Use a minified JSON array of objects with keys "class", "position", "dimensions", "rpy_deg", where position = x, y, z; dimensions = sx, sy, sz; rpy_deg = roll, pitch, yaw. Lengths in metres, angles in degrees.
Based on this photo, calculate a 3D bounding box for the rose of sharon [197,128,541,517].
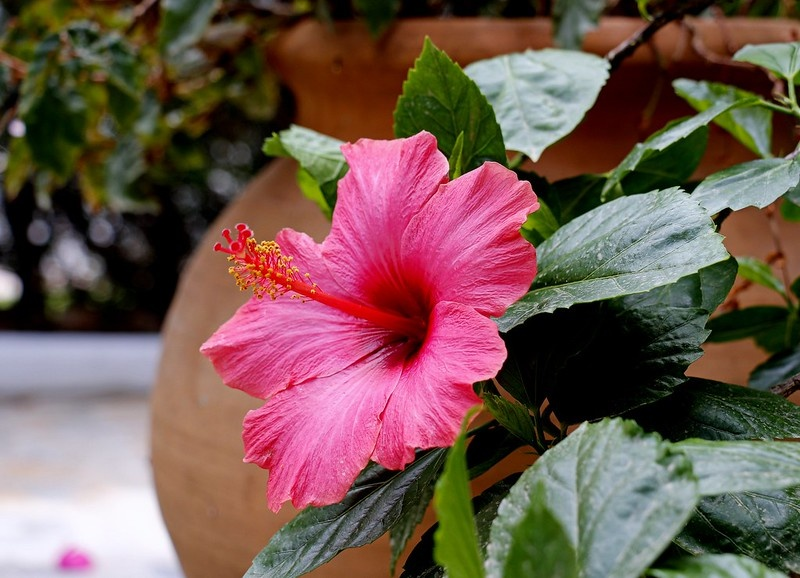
[{"class":"rose of sharon","position":[-0.047,0.044,1.099],"dimensions":[0.351,0.143,0.493],"rpy_deg":[30,81,8]}]
